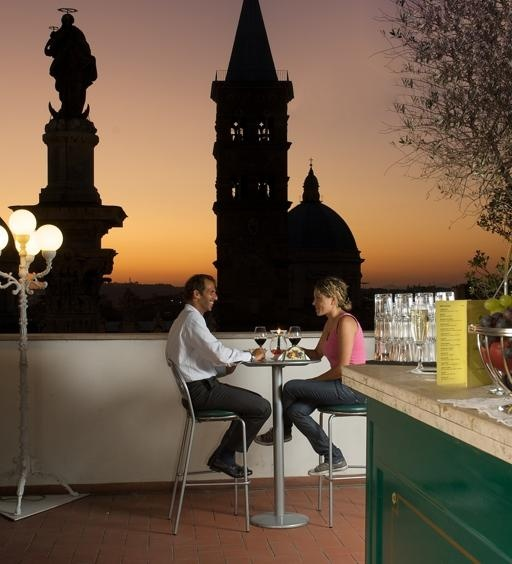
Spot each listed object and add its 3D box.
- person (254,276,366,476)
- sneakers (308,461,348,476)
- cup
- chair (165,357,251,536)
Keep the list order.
[{"bbox_3d":[0.357,0.539,4.059,0.621,1.139,0.757,-1,-1,-2],"label":"person"},{"bbox_3d":[0.402,1.029,4.001,0.269,0.094,0.086,-2,-10,13],"label":"sneakers"},{"bbox_3d":[0.562,0.161,2.494,0.308,0.261,0.159,1,-5,6],"label":"cup"},{"bbox_3d":[-0.276,0.924,4.129,0.553,0.886,0.512,-4,-9,14],"label":"chair"}]
